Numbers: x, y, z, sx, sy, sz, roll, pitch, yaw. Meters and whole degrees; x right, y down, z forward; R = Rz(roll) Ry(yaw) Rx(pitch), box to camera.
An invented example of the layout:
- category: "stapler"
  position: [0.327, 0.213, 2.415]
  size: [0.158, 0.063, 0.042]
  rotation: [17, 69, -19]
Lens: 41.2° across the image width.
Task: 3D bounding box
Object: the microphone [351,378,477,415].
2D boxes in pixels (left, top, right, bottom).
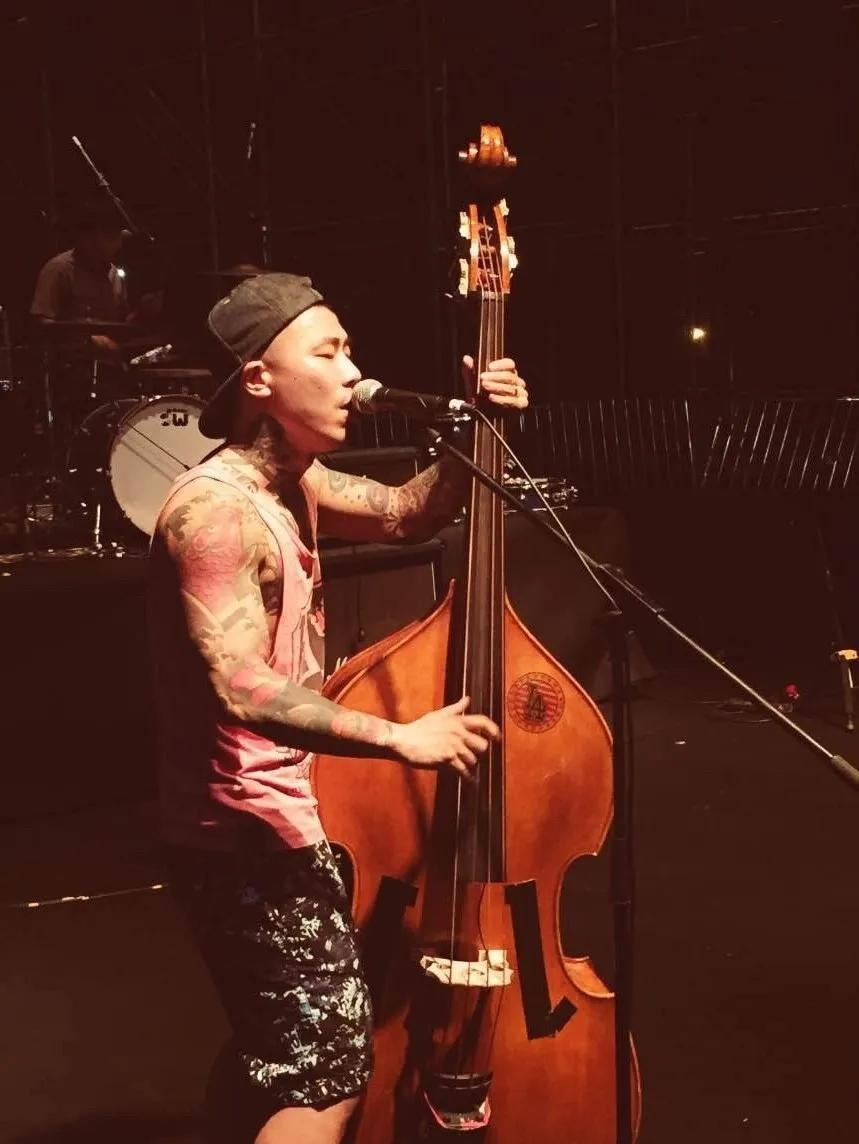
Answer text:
- category: "microphone"
  position: [-0.034, -0.332, 2.205]
  size: [0.246, 0.060, 0.076]
  rotation: [3, -24, 9]

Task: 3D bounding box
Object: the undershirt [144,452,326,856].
- category: "undershirt"
  position: [-0.347, 0.138, 2.107]
  size: [0.191, 0.677, 0.385]
  rotation: [3, 7, 44]

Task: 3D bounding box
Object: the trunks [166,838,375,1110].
- category: "trunks"
  position: [-0.295, 0.730, 2.107]
  size: [0.369, 0.457, 0.189]
  rotation: [1, 7, -12]
